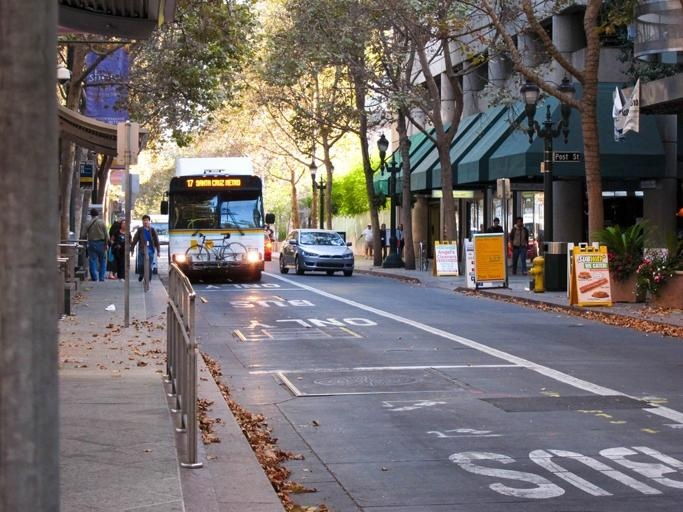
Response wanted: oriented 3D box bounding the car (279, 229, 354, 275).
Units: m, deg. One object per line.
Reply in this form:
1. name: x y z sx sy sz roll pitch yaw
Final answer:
1. car: -1.157 -0.142 35.005 2.080 2.000 3.882 -5 5 -28

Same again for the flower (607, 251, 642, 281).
1. flower: 7.091 0.258 20.387 0.673 0.633 0.647 0 -4 -25

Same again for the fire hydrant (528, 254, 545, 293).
1. fire hydrant: 5.766 0.527 23.939 0.587 1.052 0.631 1 4 11

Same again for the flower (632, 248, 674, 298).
1. flower: 7.175 0.407 18.577 0.808 0.539 0.841 -3 18 -18

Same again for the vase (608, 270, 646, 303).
1. vase: 7.209 0.838 20.692 0.879 0.973 0.660 4 8 42

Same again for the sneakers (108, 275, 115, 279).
1. sneakers: -8.495 0.777 29.882 0.139 0.187 0.411 -2 -2 -22

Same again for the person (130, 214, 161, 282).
1. person: -6.503 -0.266 26.678 0.997 2.313 0.566 -1 27 -17

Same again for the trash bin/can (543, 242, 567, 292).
1. trash bin/can: 6.330 0.380 24.237 0.803 1.558 0.896 2 -4 -19
